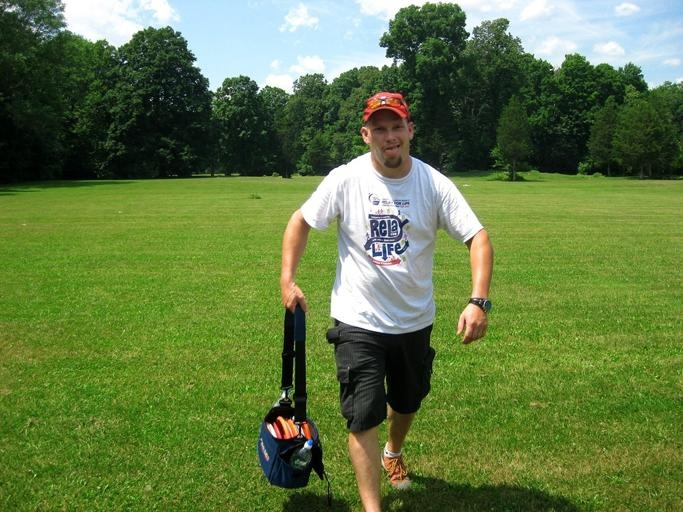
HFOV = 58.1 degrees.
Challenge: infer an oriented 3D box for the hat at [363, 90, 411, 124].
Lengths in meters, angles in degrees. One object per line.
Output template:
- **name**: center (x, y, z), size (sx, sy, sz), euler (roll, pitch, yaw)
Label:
- **hat**: center (0.349, -1.197, 4.842), size (0.334, 0.249, 0.444), euler (1, 0, 3)

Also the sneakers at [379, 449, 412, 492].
- **sneakers**: center (0.459, 1.847, 5.228), size (0.155, 0.168, 0.417), euler (-1, 2, -11)

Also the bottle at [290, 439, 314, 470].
- **bottle**: center (-0.312, 1.543, 4.755), size (0.135, 0.226, 0.131), euler (27, 11, -6)
